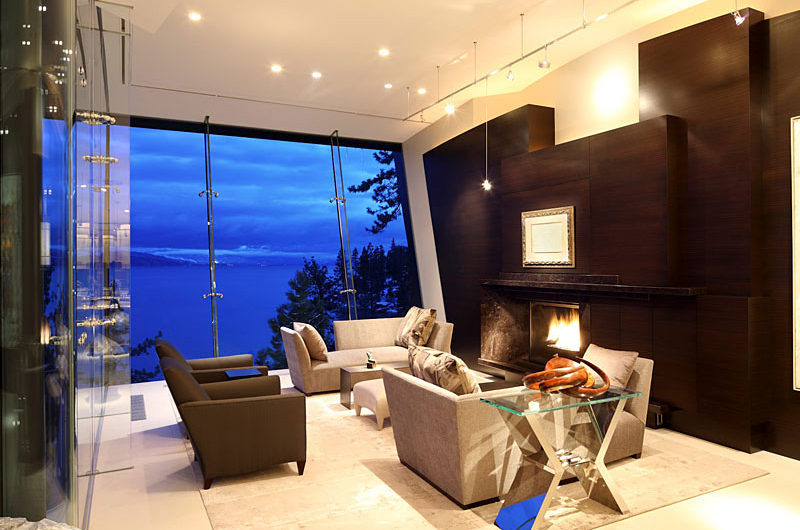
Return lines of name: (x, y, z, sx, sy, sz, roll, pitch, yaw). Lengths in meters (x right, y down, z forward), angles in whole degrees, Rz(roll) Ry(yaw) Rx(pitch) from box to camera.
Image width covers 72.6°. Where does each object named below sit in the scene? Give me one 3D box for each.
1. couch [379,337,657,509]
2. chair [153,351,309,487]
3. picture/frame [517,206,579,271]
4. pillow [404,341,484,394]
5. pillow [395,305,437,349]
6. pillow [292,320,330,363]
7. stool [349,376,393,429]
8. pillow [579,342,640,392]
couch: (0.690, 0.835, 4.510, 2.025, 0.888, 1.160, -1, 1, -27)
chair: (-1.627, 1.309, 5.110, 1.236, 1.064, 1.083, -1, 2, -25)
picture/frame: (1.902, -0.342, 6.955, 0.063, 0.768, 0.864, -2, 1, -32)
pillow: (0.358, 1.004, 4.790, 0.355, 0.549, 0.735, -7, 8, -28)
pillow: (0.152, 0.938, 8.030, 0.402, 0.628, 0.877, 9, -10, -20)
pillow: (-1.196, 1.124, 7.437, 0.380, 0.540, 0.681, -1, -23, -18)
stool: (-0.325, 1.464, 5.967, 0.550, 0.370, 0.557, -1, 3, -33)
pillow: (1.948, 0.952, 5.152, 0.423, 0.421, 0.173, 7, -26, 47)
